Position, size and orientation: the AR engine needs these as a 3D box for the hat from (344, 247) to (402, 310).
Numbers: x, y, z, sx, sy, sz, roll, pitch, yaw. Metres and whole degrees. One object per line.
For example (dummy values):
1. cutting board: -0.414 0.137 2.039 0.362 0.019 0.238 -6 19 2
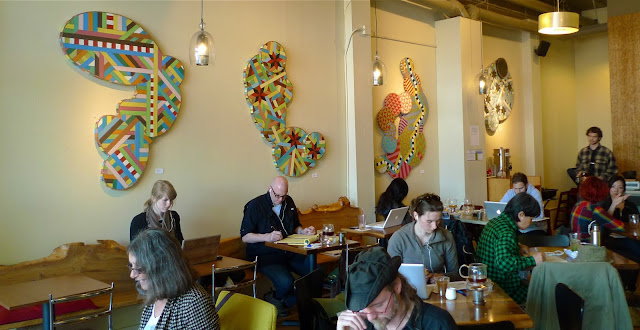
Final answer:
1. hat: 0.484 1.111 4.309 0.488 0.600 0.267 -11 -47 44

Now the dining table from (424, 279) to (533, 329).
1. dining table: 1.890 1.662 4.981 0.597 0.176 0.827 0 -1 -6

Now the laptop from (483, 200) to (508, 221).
1. laptop: 3.115 0.791 7.738 0.518 0.351 0.387 -7 4 43

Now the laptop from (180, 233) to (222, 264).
1. laptop: -1.736 1.211 6.328 0.632 0.405 0.401 -2 10 -31

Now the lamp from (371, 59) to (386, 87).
1. lamp: 1.098 -1.765 8.138 0.234 0.515 0.177 -6 0 6

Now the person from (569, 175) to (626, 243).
1. person: 4.351 0.636 6.852 0.737 0.986 0.484 -6 0 31

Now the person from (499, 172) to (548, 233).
1. person: 3.734 0.837 8.155 0.995 1.182 0.812 4 1 -45

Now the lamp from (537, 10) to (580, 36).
1. lamp: 3.959 -2.341 7.162 0.615 0.210 0.585 -2 7 -41

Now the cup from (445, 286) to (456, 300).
1. cup: 1.564 1.542 5.219 0.136 0.116 0.139 -1 -6 0

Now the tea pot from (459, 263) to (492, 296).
1. tea pot: 1.880 1.370 5.276 0.247 0.345 0.396 1 -2 -43

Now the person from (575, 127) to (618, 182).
1. person: 6.180 -0.248 9.768 0.821 1.193 0.449 -6 0 38

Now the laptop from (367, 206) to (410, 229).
1. laptop: 1.173 0.896 7.464 0.487 0.273 0.607 -2 -1 38

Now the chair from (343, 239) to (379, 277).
1. chair: 0.574 1.477 6.585 0.542 0.607 0.438 7 4 -16

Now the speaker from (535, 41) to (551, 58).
1. speaker: 5.547 -2.939 10.813 0.355 0.410 0.264 -6 0 24

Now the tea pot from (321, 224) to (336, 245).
1. tea pot: 0.156 1.077 6.740 0.293 0.288 0.293 2 -7 0

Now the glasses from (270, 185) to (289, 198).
1. glasses: -0.683 0.425 7.073 0.231 0.068 0.222 7 11 -43

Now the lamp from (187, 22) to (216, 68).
1. lamp: -1.716 -1.789 6.401 0.553 0.599 0.510 -4 14 -19

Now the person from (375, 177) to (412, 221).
1. person: 1.372 0.652 8.016 0.604 0.823 0.659 17 12 35
